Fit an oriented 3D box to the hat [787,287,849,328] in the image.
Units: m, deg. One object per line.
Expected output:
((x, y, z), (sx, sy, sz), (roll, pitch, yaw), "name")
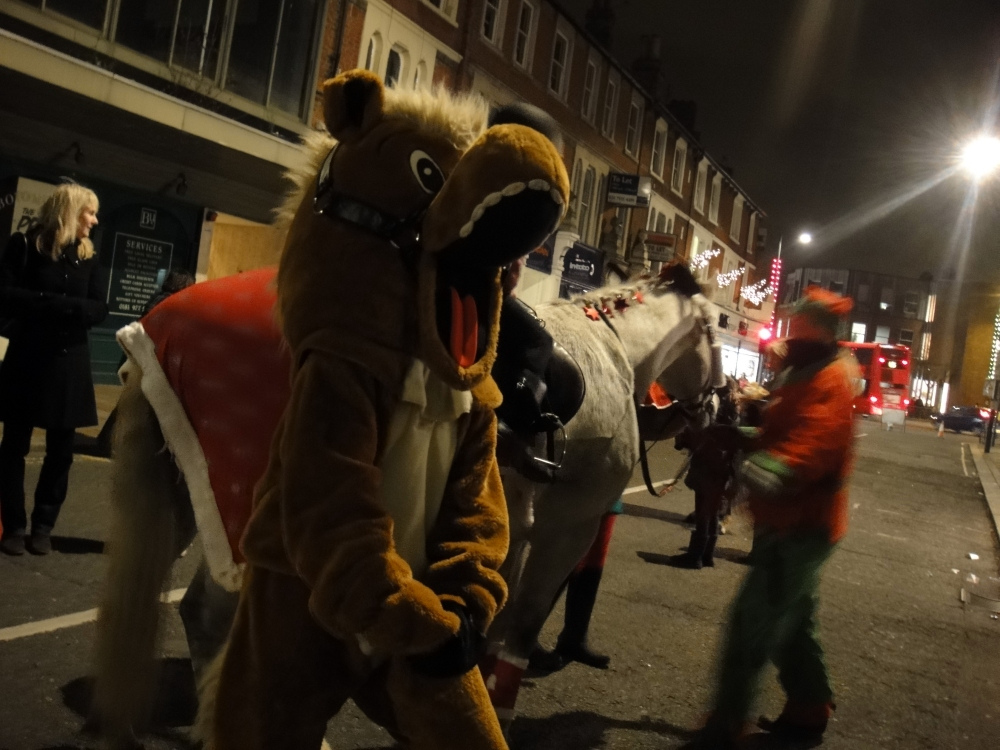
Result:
((1.799, -0.369, 3.691), (0.264, 0.242, 0.232), (14, -10, -1), "hat")

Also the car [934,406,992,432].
((30.531, 2.876, 43.704), (3.299, 1.850, 2.100), (7, 4, 42), "car")
